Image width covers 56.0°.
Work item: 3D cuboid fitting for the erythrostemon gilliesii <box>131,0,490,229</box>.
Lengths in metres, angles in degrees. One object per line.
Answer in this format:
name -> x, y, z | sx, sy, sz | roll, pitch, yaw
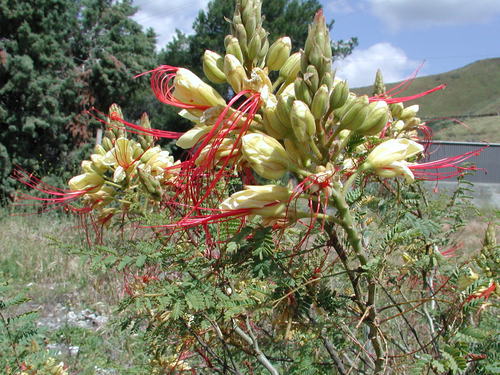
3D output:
erythrostemon gilliesii -> 0.399, -0.583, 3.619 | 1.860, 1.437, 1.957 | -1, 17, 30
